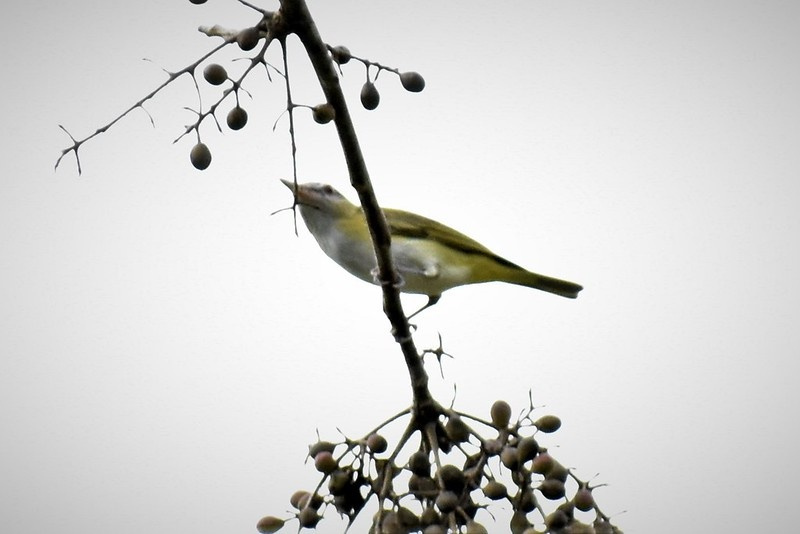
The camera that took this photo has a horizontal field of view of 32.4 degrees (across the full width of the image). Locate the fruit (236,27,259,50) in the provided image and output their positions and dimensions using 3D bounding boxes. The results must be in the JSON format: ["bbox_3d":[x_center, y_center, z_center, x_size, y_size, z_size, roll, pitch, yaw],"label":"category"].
[{"bbox_3d":[-0.352,-0.530,3.181,0.052,0.073,0.047,-15,-79,3],"label":"fruit"}]
